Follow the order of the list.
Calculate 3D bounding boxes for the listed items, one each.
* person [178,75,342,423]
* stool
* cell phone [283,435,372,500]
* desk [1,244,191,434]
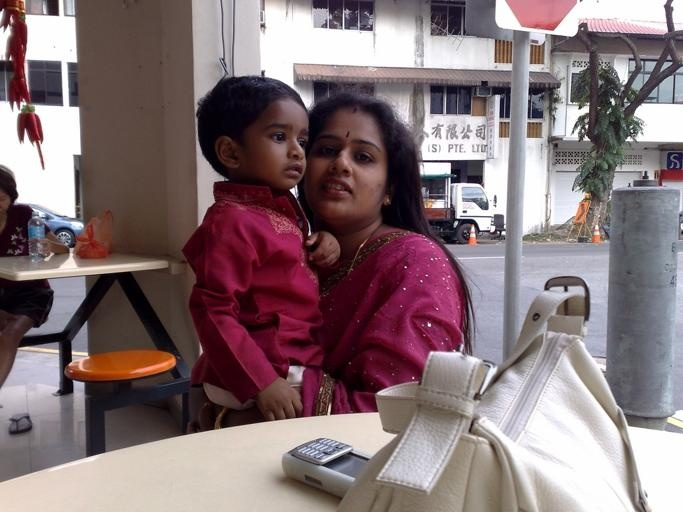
[{"bbox_3d":[-0.254,-0.023,1.777,0.474,1.041,0.511,1,7,5],"label":"person"},{"bbox_3d":[-1.042,0.597,2.809,0.507,0.489,0.509,-1,0,19],"label":"stool"},{"bbox_3d":[-0.036,0.380,1.146,0.135,0.050,0.105,9,13,33],"label":"cell phone"},{"bbox_3d":[-1.381,0.464,3.370,0.869,0.760,0.936,1,1,-30],"label":"desk"}]
